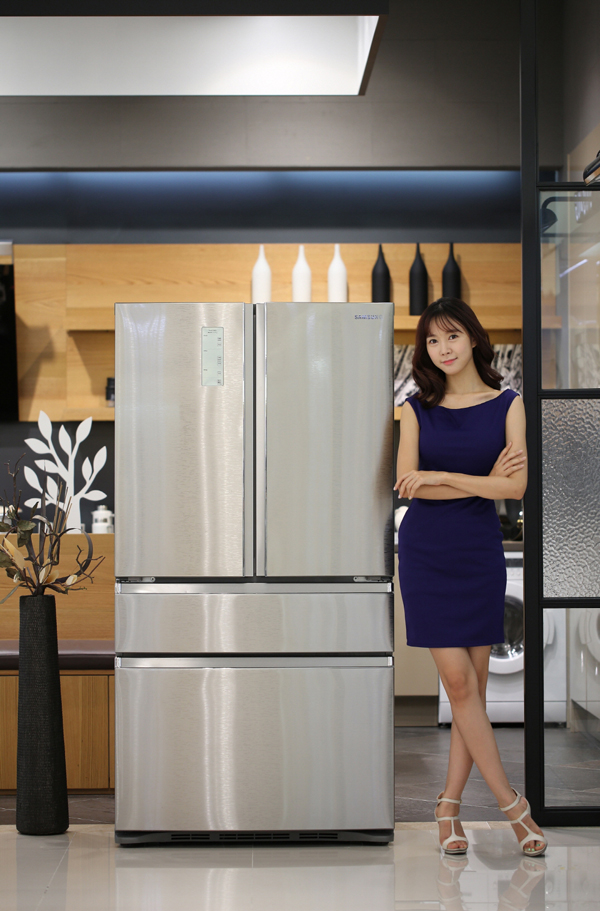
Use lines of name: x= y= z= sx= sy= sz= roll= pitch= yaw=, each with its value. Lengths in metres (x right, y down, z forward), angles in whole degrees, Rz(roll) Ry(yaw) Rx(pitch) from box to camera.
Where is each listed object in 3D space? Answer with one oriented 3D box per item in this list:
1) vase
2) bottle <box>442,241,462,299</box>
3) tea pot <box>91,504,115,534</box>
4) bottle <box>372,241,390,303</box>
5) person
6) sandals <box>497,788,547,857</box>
vase: x=-0.796 y=0.808 z=2.939 sx=0.152 sy=0.736 sz=0.096 roll=1 pitch=-5 yaw=-14
bottle: x=0.781 y=-0.956 z=4.903 sx=0.097 sy=0.302 sz=0.115 roll=-1 pitch=-5 yaw=8
tea pot: x=-1.039 y=0.344 z=4.914 sx=0.136 sy=0.173 sz=0.131 roll=-1 pitch=-2 yaw=0
bottle: x=0.421 y=-0.944 z=4.906 sx=0.103 sy=0.311 sz=0.097 roll=0 pitch=-5 yaw=0
person: x=0.475 y=0.338 z=2.716 sx=0.388 sy=1.610 sz=0.231 roll=-2 pitch=-5 yaw=13
sandals: x=0.642 y=1.048 z=2.711 sx=0.106 sy=0.193 sz=0.152 roll=-2 pitch=-5 yaw=18
